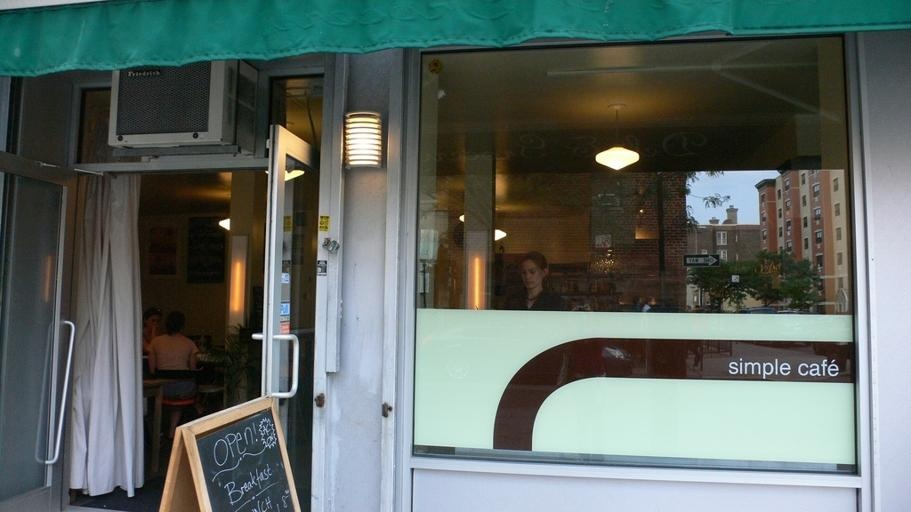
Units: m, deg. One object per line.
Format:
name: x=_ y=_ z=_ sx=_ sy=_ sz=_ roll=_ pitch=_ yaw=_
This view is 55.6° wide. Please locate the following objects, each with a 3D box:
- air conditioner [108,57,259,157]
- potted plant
air conditioner: x=-2.398 y=-1.370 z=7.914 sx=1.370 sy=0.812 sz=0.758 roll=0 pitch=-2 yaw=27
potted plant: x=2.551 y=0.219 z=7.210 sx=0.685 sy=0.388 sz=0.663 roll=1 pitch=-9 yaw=22
